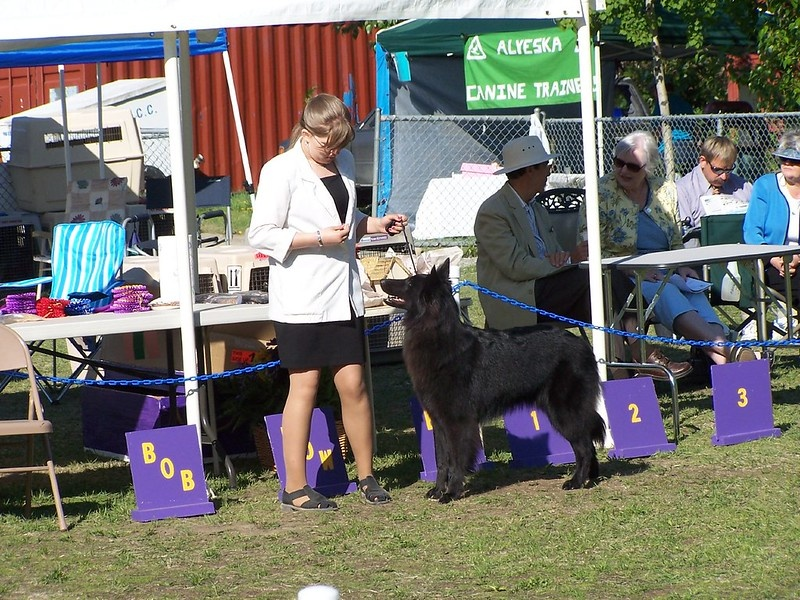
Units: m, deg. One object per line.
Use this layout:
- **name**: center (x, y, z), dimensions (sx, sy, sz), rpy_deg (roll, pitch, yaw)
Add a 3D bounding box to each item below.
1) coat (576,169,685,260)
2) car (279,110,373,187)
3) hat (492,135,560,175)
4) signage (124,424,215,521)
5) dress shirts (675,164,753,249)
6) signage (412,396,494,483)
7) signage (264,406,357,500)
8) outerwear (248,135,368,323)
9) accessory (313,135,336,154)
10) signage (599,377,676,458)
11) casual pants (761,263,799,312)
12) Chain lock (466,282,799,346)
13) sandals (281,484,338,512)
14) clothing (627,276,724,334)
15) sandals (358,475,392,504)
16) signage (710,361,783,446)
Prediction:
- **coat**: center (1.850, -0.698, 8.792), dimensions (0.864, 0.749, 0.501), rpy_deg (-7, 13, -15)
- **car**: center (-1.282, -2.195, 15.971), dimensions (1.789, 0.958, 1.127), rpy_deg (1, 4, 0)
- **hat**: center (0.890, -1.056, 7.992), dimensions (0.508, 0.292, 0.501), rpy_deg (-9, -5, 8)
- **signage**: center (-1.432, 1.103, 6.794), dimensions (0.499, 0.616, 0.329), rpy_deg (-6, -20, -19)
- **dress shirts**: center (2.946, -0.678, 10.267), dimensions (0.718, 0.965, 0.516), rpy_deg (6, 21, 19)
- **signage**: center (0.300, 0.924, 7.074), dimensions (0.420, 0.705, 0.154), rpy_deg (-3, 1, 7)
- **signage**: center (-0.578, 0.998, 7.014), dimensions (0.478, 0.609, 0.184), rpy_deg (-3, -23, -33)
- **outerwear**: center (-0.579, -0.416, 6.673), dimensions (0.668, 1.072, 0.389), rpy_deg (-4, 11, -10)
- **accessory**: center (-0.445, -0.926, 6.546), dimensions (0.095, 0.033, 0.100), rpy_deg (20, 17, -33)
- **signage**: center (1.595, 0.759, 7.411), dimensions (0.511, 0.607, 0.068), rpy_deg (-8, 17, 12)
- **casual pants**: center (3.103, -0.113, 8.945), dimensions (0.312, 0.361, 0.106), rpy_deg (5, 17, 16)
- **Chain lock**: center (1.706, 0.092, 8.077), dimensions (1.765, 0.293, 0.175), rpy_deg (9, -25, 7)
- **sandals**: center (-0.555, 1.199, 6.739), dimensions (0.249, 0.125, 0.157), rpy_deg (0, 1, 18)
- **clothing**: center (2.100, 0.002, 8.371), dimensions (0.521, 0.252, 0.435), rpy_deg (21, 11, 34)
- **sandals**: center (-0.169, 1.182, 6.856), dimensions (0.103, 0.104, 0.221), rpy_deg (-13, 11, -28)
- **signage**: center (2.344, 0.697, 7.580), dimensions (0.167, 0.558, 0.530), rpy_deg (17, -18, -20)
